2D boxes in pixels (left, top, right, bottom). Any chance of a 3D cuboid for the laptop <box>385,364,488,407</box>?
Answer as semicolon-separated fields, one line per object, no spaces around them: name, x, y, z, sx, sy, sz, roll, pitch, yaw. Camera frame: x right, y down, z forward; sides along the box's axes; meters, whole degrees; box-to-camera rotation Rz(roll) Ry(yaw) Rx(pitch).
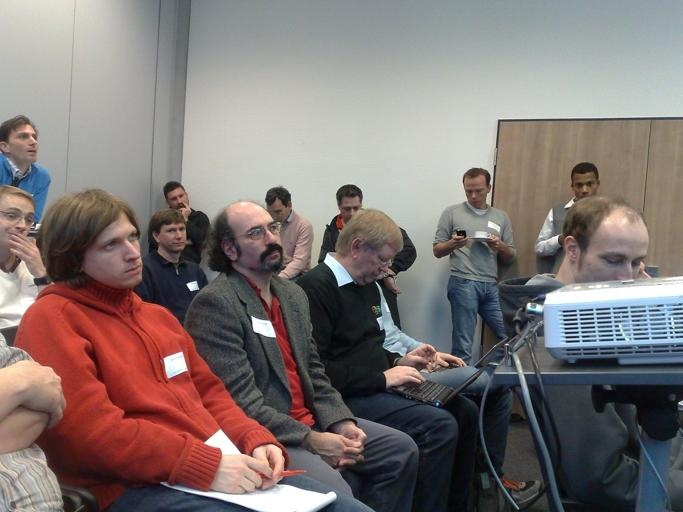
laptop;0.443;0.619;2.410;0.309;0.211;0.305;13;5;28

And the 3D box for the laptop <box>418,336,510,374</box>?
laptop;0.632;0.544;2.632;0.387;0.147;0.379;-17;-8;-28
